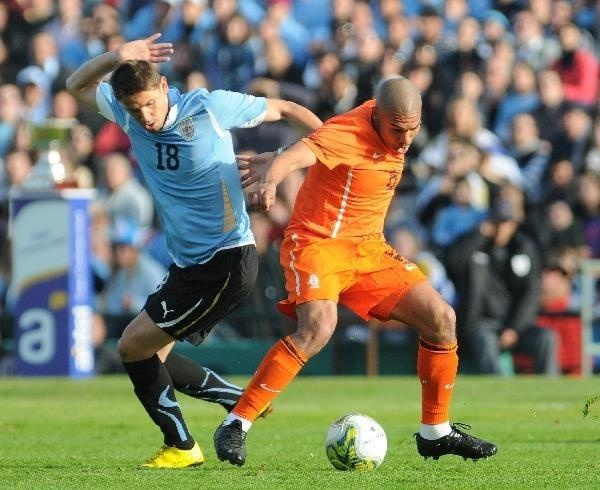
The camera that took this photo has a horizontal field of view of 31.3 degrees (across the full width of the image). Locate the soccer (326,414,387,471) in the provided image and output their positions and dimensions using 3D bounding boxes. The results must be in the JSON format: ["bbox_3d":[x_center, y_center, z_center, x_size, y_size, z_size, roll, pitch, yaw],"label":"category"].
[{"bbox_3d":[0.432,1.474,8.028,0.352,0.406,0.387,-2,-1,25],"label":"soccer"}]

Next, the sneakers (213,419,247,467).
[{"bbox_3d":[-0.512,1.487,7.857,0.227,0.371,0.227,0,14,-1],"label":"sneakers"}]

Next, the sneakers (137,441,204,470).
[{"bbox_3d":[-0.968,1.575,8.047,0.485,0.220,0.171,1,-5,-14],"label":"sneakers"}]
